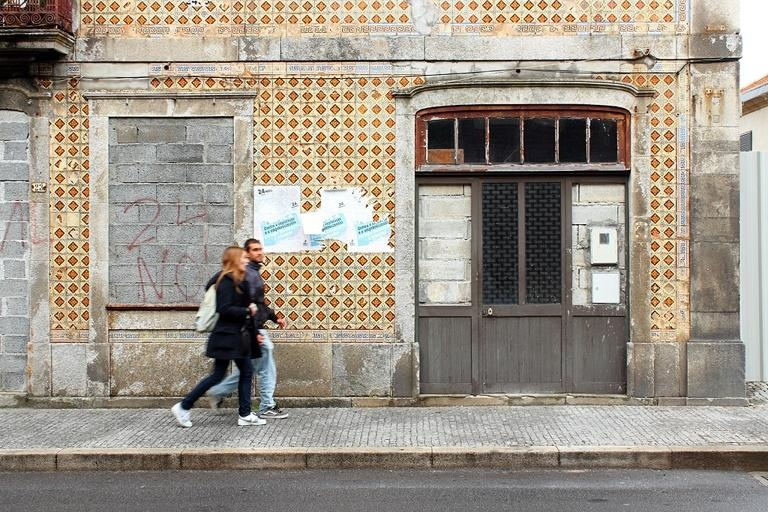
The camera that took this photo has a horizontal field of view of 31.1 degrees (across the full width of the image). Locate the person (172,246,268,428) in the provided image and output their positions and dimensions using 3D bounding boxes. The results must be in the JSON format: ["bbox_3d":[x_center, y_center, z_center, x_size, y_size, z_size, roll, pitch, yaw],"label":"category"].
[{"bbox_3d":[-2.408,1.237,20.913,1.178,2.730,0.638,0,-3,-6],"label":"person"}]

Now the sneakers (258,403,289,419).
[{"bbox_3d":[-1.748,2.447,21.556,0.512,0.209,0.192,1,-2,-2],"label":"sneakers"}]

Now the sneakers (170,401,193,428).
[{"bbox_3d":[-3.105,2.432,21.069,0.234,0.474,0.193,-18,12,-3],"label":"sneakers"}]
